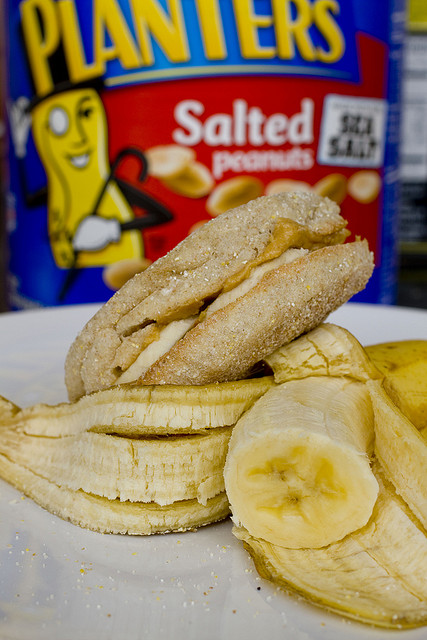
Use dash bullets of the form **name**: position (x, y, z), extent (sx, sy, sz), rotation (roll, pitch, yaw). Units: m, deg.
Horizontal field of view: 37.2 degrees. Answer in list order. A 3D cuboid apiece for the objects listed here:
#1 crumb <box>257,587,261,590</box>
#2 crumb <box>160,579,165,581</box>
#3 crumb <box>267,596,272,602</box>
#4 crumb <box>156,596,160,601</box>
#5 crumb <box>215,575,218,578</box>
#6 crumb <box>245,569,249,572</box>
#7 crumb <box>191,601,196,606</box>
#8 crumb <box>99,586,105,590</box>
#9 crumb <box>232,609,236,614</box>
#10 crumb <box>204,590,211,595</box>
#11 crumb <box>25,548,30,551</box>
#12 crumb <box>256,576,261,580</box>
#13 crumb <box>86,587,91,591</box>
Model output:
- **crumb**: position (0.035, 0.202, 0.477), extent (0.003, 0.001, 0.002), rotation (-7, 27, -5)
- **crumb**: position (-0.039, 0.200, 0.487), extent (0.003, 0.001, 0.002), rotation (-7, 27, -4)
- **crumb**: position (0.042, 0.204, 0.465), extent (0.003, 0.002, 0.006), rotation (-4, 26, 2)
- **crumb**: position (-0.040, 0.203, 0.461), extent (0.002, 0.001, 0.004), rotation (-11, 27, -12)
- **crumb**: position (0.003, 0.199, 0.492), extent (0.002, 0.001, 0.003), rotation (-6, 26, -2)
- **crumb**: position (0.027, 0.198, 0.501), extent (0.003, 0.001, 0.004), rotation (-2, 27, 7)
- **crumb**: position (-0.014, 0.204, 0.456), extent (0.003, 0.001, 0.004), rotation (-4, 26, 3)
- **crumb**: position (-0.084, 0.201, 0.477), extent (0.004, 0.001, 0.004), rotation (-14, 28, -17)
- **crumb**: position (0.015, 0.206, 0.448), extent (0.002, 0.002, 0.005), rotation (-6, 26, -1)
- **crumb**: position (-0.004, 0.202, 0.470), extent (0.004, 0.002, 0.004), rotation (-7, 27, -3)
- **crumb**: position (-0.154, 0.191, 0.528), extent (0.003, 0.001, 0.005), rotation (-14, 28, -18)
- **crumb**: position (0.035, 0.200, 0.490), extent (0.003, 0.001, 0.002), rotation (0, 22, 17)
- **crumb**: position (-0.093, 0.202, 0.475), extent (0.003, 0.001, 0.004), rotation (-2, 27, 5)
